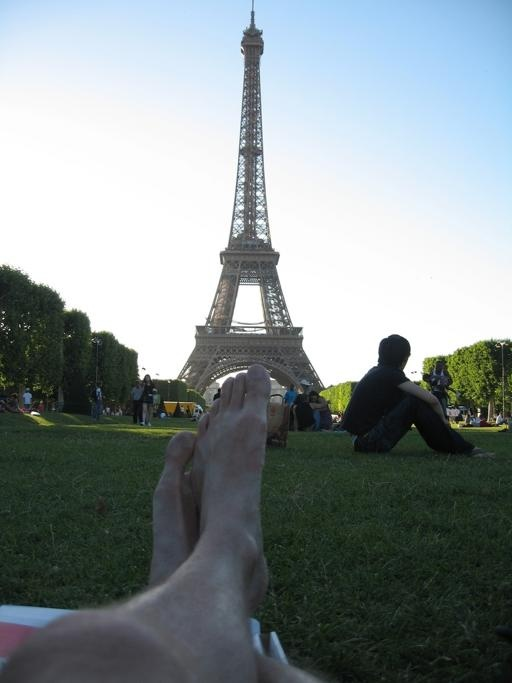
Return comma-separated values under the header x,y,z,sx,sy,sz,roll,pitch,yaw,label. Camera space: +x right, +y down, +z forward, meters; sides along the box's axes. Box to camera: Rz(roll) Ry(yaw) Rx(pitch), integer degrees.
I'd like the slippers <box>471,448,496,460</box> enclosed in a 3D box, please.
x,y,z,sx,sy,sz,roll,pitch,yaw,label
1.885,0.934,4.786,0.075,0.080,0.194,5,-14,-13,slippers

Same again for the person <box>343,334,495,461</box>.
x,y,z,sx,sy,sz,roll,pitch,yaw,label
1.414,0.520,5.384,1.108,1.157,1.253,3,-8,-13,person

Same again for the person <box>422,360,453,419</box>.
x,y,z,sx,sy,sz,roll,pitch,yaw,label
3.531,0.869,10.791,0.382,0.946,0.367,-26,26,-16,person

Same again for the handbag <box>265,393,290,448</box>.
x,y,z,sx,sy,sz,roll,pitch,yaw,label
0.219,0.849,6.472,0.320,0.524,0.311,5,-16,-8,handbag
